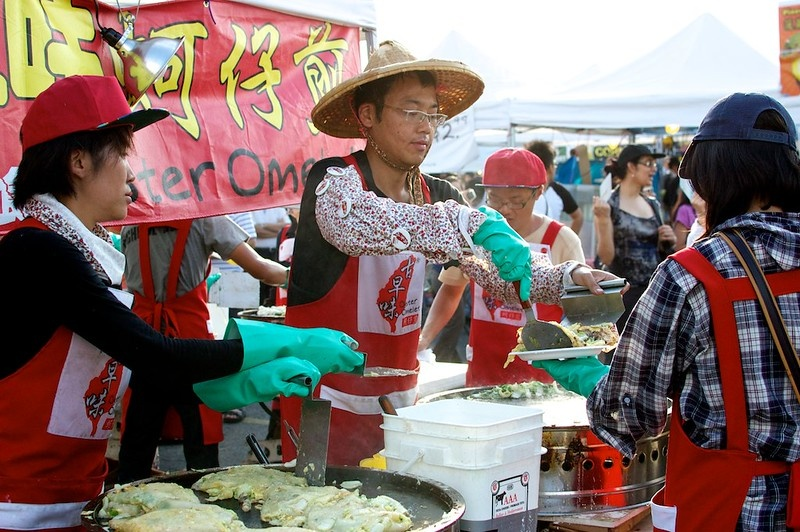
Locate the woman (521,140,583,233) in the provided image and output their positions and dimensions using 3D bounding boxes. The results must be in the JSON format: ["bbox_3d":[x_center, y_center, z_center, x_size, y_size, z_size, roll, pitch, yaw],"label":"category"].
[{"bbox_3d":[2.094,-1.252,10.605,0.805,1.485,0.518,-11,-36,7],"label":"woman"}]

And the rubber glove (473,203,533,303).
[{"bbox_3d":[0.491,0.018,4.150,0.339,0.166,0.445,1,-28,-8],"label":"rubber glove"}]

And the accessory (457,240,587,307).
[{"bbox_3d":[0.634,0.021,4.276,0.402,0.139,0.395,27,6,-41],"label":"accessory"}]

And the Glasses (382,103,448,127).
[{"bbox_3d":[0.083,-0.796,4.326,0.160,0.047,0.157,28,18,28],"label":"Glasses"}]

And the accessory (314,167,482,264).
[{"bbox_3d":[-0.022,-0.216,3.999,0.562,0.244,0.496,5,4,23],"label":"accessory"}]

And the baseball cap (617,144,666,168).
[{"bbox_3d":[2.548,-1.177,8.648,0.415,0.164,0.265,-6,4,-3],"label":"baseball cap"}]

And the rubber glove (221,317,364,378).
[{"bbox_3d":[-0.462,0.326,3.681,0.483,0.188,0.287,4,7,-2],"label":"rubber glove"}]
